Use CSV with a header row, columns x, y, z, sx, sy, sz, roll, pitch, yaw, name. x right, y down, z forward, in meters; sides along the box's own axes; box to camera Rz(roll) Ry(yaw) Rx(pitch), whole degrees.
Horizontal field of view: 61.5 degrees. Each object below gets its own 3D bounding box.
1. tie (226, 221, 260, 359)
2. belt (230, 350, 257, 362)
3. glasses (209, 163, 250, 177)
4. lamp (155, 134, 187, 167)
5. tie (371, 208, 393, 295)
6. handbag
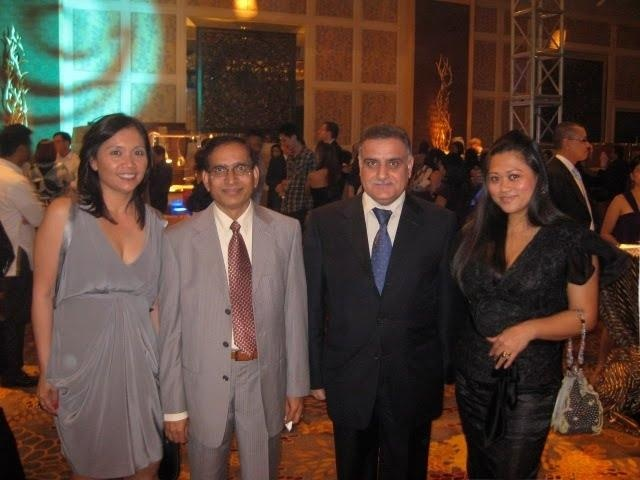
x,y,z,sx,sy,sz,roll,pitch,yaw,name
-0.370,0.241,2.553,0.128,0.638,0.164,0,6,-14,tie
-0.354,0.541,2.514,0.119,0.056,0.011,0,6,-14,belt
-0.427,-0.335,2.583,0.201,0.073,0.068,0,6,-15,glasses
-2.161,-1.266,7.764,0.250,0.465,0.474,-9,7,13,lamp
0.304,0.062,2.656,0.103,0.406,0.041,4,-13,12,tie
1.215,0.712,2.563,0.234,0.446,0.131,0,6,-9,handbag
